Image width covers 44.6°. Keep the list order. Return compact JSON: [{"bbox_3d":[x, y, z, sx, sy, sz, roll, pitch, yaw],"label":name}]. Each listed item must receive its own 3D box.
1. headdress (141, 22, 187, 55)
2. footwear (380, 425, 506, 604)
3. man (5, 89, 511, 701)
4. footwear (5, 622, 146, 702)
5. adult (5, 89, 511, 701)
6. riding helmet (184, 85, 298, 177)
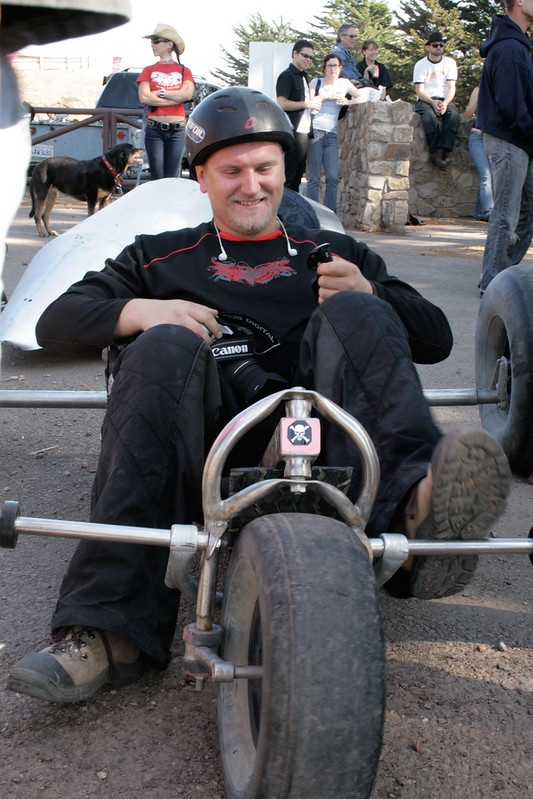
[{"bbox_3d":[-0.919,-3.315,5.924,0.320,0.185,0.576,0,9,-10],"label":"headdress"},{"bbox_3d":[0.303,0.190,1.079,0.130,0.336,0.145,11,16,-20],"label":"footwear"},{"bbox_3d":[-0.064,-0.093,1.714,0.968,1.161,1.542,-2,3,-3],"label":"man"},{"bbox_3d":[-0.324,0.439,1.145,0.095,0.121,0.258,20,-2,37],"label":"footwear"},{"bbox_3d":[-0.058,-0.116,1.725,0.968,1.161,1.542,-2,3,-3],"label":"adult"},{"bbox_3d":[-0.063,-0.702,1.690,0.192,0.185,0.250,-6,32,-10],"label":"riding helmet"}]
